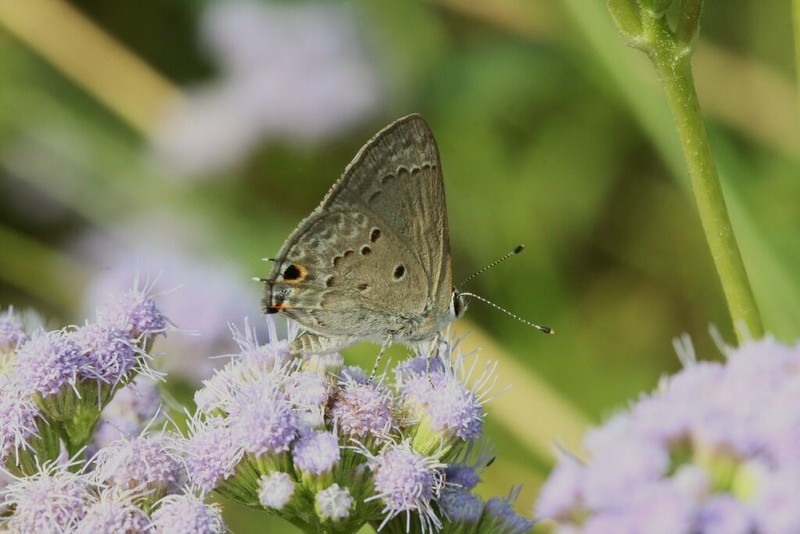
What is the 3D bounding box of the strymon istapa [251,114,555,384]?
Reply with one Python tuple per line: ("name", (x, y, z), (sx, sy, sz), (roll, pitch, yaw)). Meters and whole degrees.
("strymon istapa", (-0.126, -0.102, 4.463), (0.732, 1.514, 0.811), (-5, -3, 44))
